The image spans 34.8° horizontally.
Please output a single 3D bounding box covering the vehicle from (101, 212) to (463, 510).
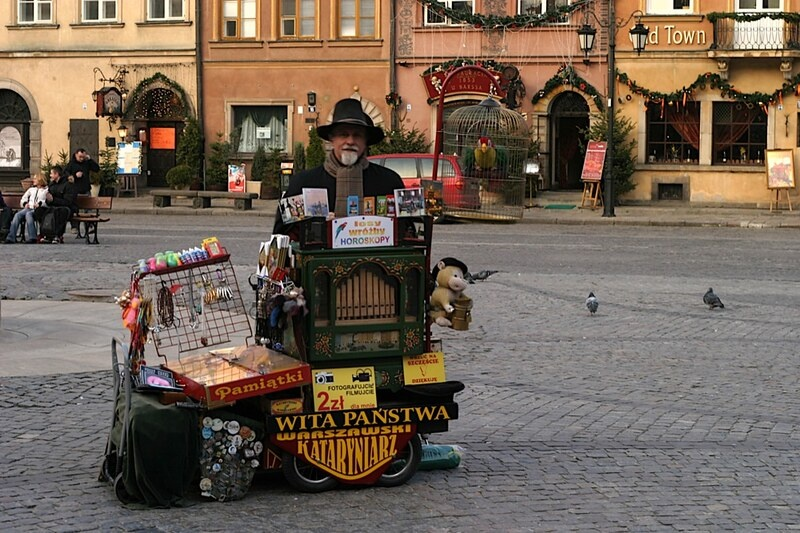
[{"bbox_3d":[-1.401,1.067,13.995,3.631,2.548,1.949,-4,0,-17],"label":"vehicle"}]

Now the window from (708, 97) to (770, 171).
[{"bbox_3d":[9.891,-3.829,36.972,2.135,2.443,0.111,0,2,4],"label":"window"}]

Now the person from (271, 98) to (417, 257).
[{"bbox_3d":[-0.599,-1.021,13.878,1.509,1.428,0.804,2,-5,-3],"label":"person"}]

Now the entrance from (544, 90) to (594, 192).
[{"bbox_3d":[5.215,-3.830,39.486,1.162,3.173,1.477,3,15,12],"label":"entrance"}]

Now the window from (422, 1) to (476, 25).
[{"bbox_3d":[1.480,-7.777,39.362,1.553,0.764,0.402,1,15,2],"label":"window"}]

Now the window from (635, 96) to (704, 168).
[{"bbox_3d":[7.966,-3.943,37.497,2.033,2.329,0.099,1,2,19],"label":"window"}]

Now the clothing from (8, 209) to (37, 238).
[{"bbox_3d":[-8.072,-0.851,27.100,0.617,0.657,0.439,-4,15,-17],"label":"clothing"}]

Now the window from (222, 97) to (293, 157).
[{"bbox_3d":[-4.580,-4.437,41.577,1.991,1.574,0.248,-2,5,-18],"label":"window"}]

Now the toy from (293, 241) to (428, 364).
[{"bbox_3d":[-0.482,0.389,13.281,1.209,1.123,0.421,-1,5,-10],"label":"toy"}]

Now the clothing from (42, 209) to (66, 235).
[{"bbox_3d":[-7.338,-0.876,27.032,0.600,0.626,0.339,-5,16,-21],"label":"clothing"}]

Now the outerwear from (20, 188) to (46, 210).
[{"bbox_3d":[-7.970,-1.419,27.682,0.471,0.449,0.280,-1,-31,6],"label":"outerwear"}]

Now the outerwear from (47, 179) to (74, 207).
[{"bbox_3d":[-7.328,-1.528,27.584,0.595,0.591,0.532,0,-5,-3],"label":"outerwear"}]

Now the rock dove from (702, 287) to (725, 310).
[{"bbox_3d":[4.785,0.527,19.641,0.236,0.321,0.404,-4,7,-25],"label":"rock dove"}]

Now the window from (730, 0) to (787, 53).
[{"bbox_3d":[10.248,-6.706,36.263,1.514,1.561,0.084,3,-1,31],"label":"window"}]
